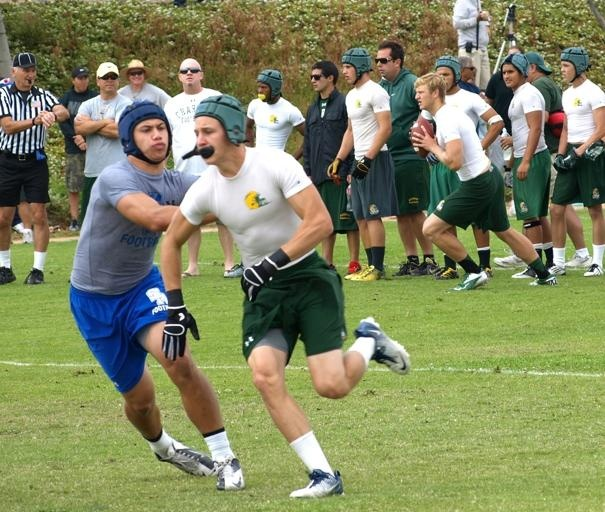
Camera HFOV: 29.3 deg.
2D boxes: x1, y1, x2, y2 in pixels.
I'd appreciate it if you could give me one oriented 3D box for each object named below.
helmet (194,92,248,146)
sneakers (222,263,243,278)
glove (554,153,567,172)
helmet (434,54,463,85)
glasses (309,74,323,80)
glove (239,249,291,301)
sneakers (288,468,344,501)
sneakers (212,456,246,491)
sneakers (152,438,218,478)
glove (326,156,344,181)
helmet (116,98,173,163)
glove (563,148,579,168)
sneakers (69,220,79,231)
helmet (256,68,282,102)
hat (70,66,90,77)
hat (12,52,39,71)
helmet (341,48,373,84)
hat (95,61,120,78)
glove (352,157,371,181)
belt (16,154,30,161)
[{"bbox_3d":[-0.503,-0.863,7.225,0.309,0.299,0.324,-1,10,-6],"label":"helmet"},{"bbox_3d":[-0.822,0.140,13.988,0.158,0.187,0.436,-1,2,-7],"label":"sneakers"},{"bbox_3d":[2.928,-1.100,13.121,0.149,0.205,0.074,5,-16,-16],"label":"glove"},{"bbox_3d":[1.645,-2.087,12.825,0.307,0.290,0.284,-13,20,-28],"label":"helmet"},{"bbox_3d":[0.169,-2.108,13.536,0.135,0.077,0.092,5,11,26],"label":"glasses"},{"bbox_3d":[-0.205,0.092,7.139,0.158,0.165,0.525,-2,27,35],"label":"glove"},{"bbox_3d":[0.099,1.326,6.838,0.356,0.162,0.130,-3,-14,-10],"label":"sneakers"},{"bbox_3d":[-0.458,1.344,7.265,0.163,0.162,0.461,-10,9,-5],"label":"sneakers"},{"bbox_3d":[-0.722,1.307,7.625,0.455,0.197,0.167,13,51,17],"label":"sneakers"},{"bbox_3d":[0.384,-1.047,13.489,0.168,0.231,0.106,9,-9,30],"label":"glove"},{"bbox_3d":[-1.108,-0.863,7.784,0.291,0.373,0.287,-15,11,-37],"label":"helmet"},{"bbox_3d":[3.013,-1.112,13.029,0.164,0.242,0.155,3,10,14],"label":"glove"},{"bbox_3d":[-3.882,-0.567,19.878,0.122,0.249,0.362,0,-1,-1],"label":"sneakers"},{"bbox_3d":[-0.362,-2.089,13.896,0.270,0.319,0.290,2,25,17],"label":"helmet"},{"bbox_3d":[-3.180,-2.684,16.780,0.221,0.171,0.306,-6,7,-20],"label":"hat"},{"bbox_3d":[-3.131,-2.243,13.212,0.183,0.161,0.276,-6,9,-27],"label":"hat"},{"bbox_3d":[0.617,-2.202,13.231,0.382,0.416,0.339,0,-2,-8],"label":"helmet"},{"bbox_3d":[-2.221,-2.157,13.308,0.227,0.161,0.265,0,10,-3],"label":"hat"},{"bbox_3d":[0.637,-1.013,12.919,0.189,0.237,0.110,25,8,-45],"label":"glove"},{"bbox_3d":[-3.210,-1.174,13.455,0.093,0.088,0.034,1,48,-2],"label":"belt"}]
